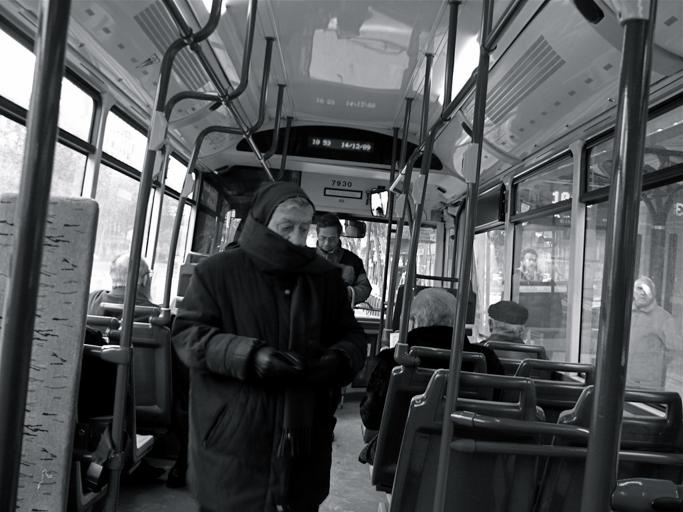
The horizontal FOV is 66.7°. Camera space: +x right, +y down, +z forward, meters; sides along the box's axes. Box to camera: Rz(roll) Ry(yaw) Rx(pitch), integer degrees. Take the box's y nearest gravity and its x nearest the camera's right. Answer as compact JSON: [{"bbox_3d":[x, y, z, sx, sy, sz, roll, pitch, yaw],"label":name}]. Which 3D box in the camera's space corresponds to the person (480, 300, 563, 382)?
[{"bbox_3d":[1.182,0.616,3.843,0.816,0.559,0.378,2,7,-5],"label":"person"}]

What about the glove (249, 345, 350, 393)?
[{"bbox_3d":[-0.138,0.414,1.923,0.287,0.117,0.166,6,37,-35],"label":"glove"}]

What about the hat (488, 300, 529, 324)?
[{"bbox_3d":[1.237,0.424,3.880,0.267,0.125,0.330,8,-4,13],"label":"hat"}]
